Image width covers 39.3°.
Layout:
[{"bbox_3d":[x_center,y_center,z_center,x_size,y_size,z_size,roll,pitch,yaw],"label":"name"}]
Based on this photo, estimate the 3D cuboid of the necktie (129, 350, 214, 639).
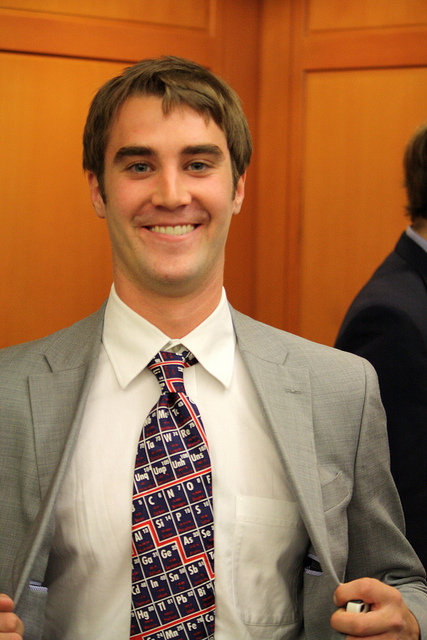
[{"bbox_3d":[-0.082,0.318,1.139,0.152,0.490,0.251,-3,4,-1],"label":"necktie"}]
